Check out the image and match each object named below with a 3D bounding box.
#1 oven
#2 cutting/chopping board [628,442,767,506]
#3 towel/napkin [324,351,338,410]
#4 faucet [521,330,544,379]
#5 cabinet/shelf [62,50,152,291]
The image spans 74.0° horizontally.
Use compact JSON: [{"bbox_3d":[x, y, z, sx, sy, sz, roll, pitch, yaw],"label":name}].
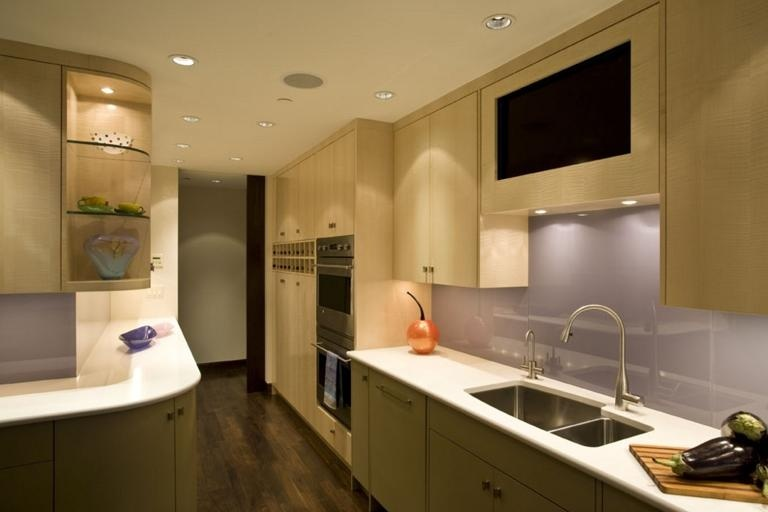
[{"bbox_3d":[-0.272,0.645,4.474,0.477,1.666,0.967,-1,3,-24],"label":"oven"},{"bbox_3d":[1.403,0.986,2.325,0.478,0.103,0.273,2,9,7],"label":"cutting/chopping board"},{"bbox_3d":[-0.448,1.027,4.290,0.083,0.433,0.328,-3,10,-18],"label":"towel/napkin"},{"bbox_3d":[0.948,0.628,3.347,0.127,0.293,0.227,-1,9,-9],"label":"faucet"},{"bbox_3d":[-1.712,-0.476,3.160,0.494,1.320,0.336,-2,10,-16],"label":"cabinet/shelf"}]
